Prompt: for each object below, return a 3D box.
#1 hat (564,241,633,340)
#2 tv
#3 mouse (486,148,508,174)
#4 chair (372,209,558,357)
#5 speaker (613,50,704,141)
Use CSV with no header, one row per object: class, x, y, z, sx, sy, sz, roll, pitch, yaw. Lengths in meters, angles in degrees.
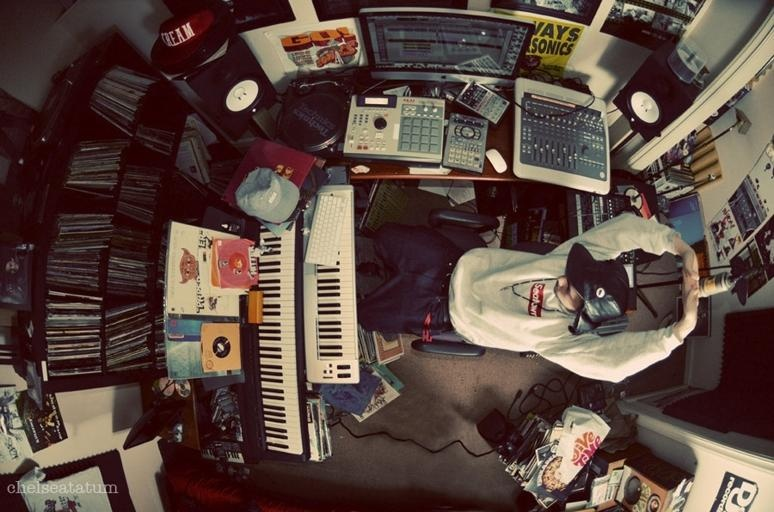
hat,1.376,0.199,3.399,0.217,0.382,0.602,-17,62,-23
tv,0.381,-1.563,3.700,1.244,0.829,0.380,2,72,-3
mouse,0.849,-0.728,3.880,0.120,0.049,0.217,-27,81,1
chair,0.445,0.185,4.342,1.191,1.421,1.103,2,67,5
speaker,2.003,-1.222,3.681,0.544,0.306,0.475,-42,86,-3
